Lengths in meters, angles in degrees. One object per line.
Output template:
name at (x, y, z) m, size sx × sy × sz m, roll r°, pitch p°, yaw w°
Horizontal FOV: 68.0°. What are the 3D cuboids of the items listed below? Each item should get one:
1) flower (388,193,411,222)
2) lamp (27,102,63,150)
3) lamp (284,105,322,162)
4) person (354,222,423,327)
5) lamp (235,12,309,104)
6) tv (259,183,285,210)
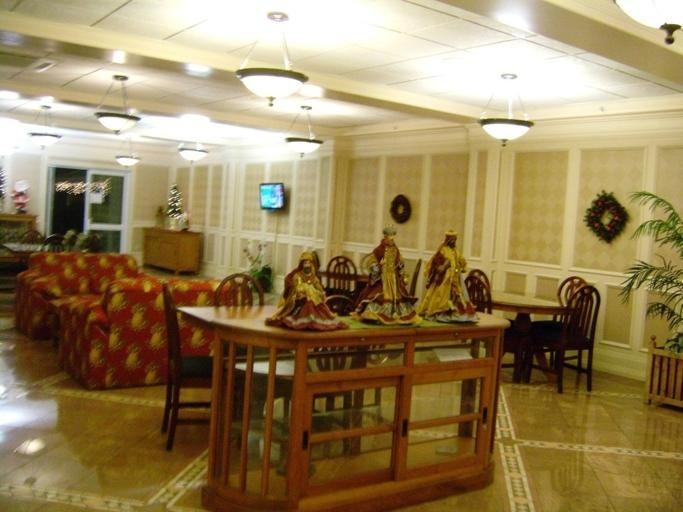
flower at (1.042, -0.930, 8.865) m, size 0.153 × 0.522 × 0.376 m, roll -2°, pitch 6°, yaw -42°
lamp at (-5.726, -2.724, 9.746) m, size 0.803 × 0.981 × 0.756 m, roll -1°, pitch 12°, yaw -23°
lamp at (-0.655, -2.277, 8.632) m, size 0.723 × 0.867 × 0.675 m, roll -1°, pitch 12°, yaw -30°
person at (0.175, 0.121, 3.435) m, size 0.656 × 0.786 × 0.594 m, roll 1°, pitch -3°, yaw -5°
lamp at (-0.606, -1.904, 4.607) m, size 0.729 × 0.769 × 0.694 m, roll -4°, pitch 13°, yaw -34°
tv at (-1.451, -1.414, 10.750) m, size 0.659 × 0.519 × 0.339 m, roll 1°, pitch -1°, yaw 37°
